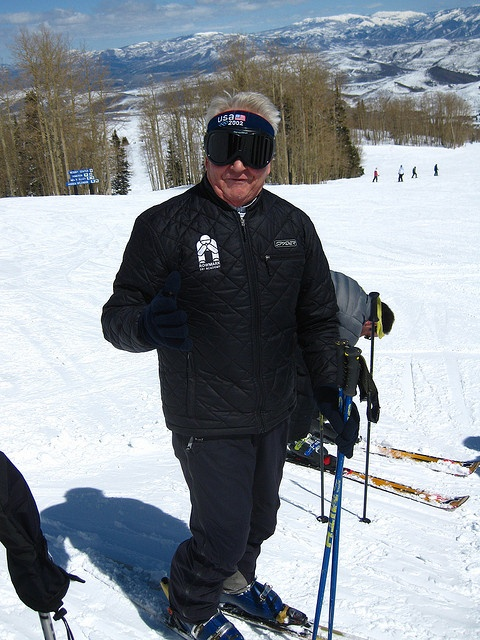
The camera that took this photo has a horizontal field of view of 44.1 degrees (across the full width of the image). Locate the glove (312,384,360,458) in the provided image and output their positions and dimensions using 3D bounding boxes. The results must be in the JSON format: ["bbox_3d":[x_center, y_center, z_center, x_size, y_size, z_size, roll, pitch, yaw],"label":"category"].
[{"bbox_3d":[0.450,0.465,2.711,0.092,0.311,0.212,-17,-3,39],"label":"glove"}]

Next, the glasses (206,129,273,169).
[{"bbox_3d":[-0.001,-0.688,2.388,0.219,0.096,0.194,3,13,-4],"label":"glasses"}]

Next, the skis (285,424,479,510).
[{"bbox_3d":[1.041,1.304,4.767,1.346,0.144,0.084,14,51,10],"label":"skis"}]

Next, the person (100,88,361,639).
[{"bbox_3d":[0.021,0.318,2.603,0.994,2.513,0.546,-16,21,-31],"label":"person"}]

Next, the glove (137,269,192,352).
[{"bbox_3d":[-0.282,-0.029,2.105,0.215,0.261,0.120,-11,-11,37],"label":"glove"}]
